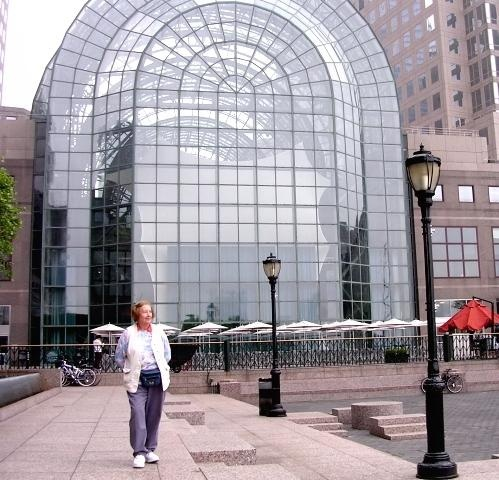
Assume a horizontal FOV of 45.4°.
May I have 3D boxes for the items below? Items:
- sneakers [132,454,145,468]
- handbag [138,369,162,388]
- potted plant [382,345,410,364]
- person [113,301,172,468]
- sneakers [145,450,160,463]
[{"bbox_3d":[-1.279,2.574,6.902,0.104,0.105,0.283,0,-16,-10],"label":"sneakers"},{"bbox_3d":[-1.241,1.710,7.439,0.324,0.244,0.212,1,-14,-11],"label":"handbag"},{"bbox_3d":[7.394,5.848,29.956,1.069,0.718,0.441,-1,12,-9],"label":"potted plant"},{"bbox_3d":[-1.278,1.734,7.306,0.683,1.923,0.336,2,-11,-24],"label":"person"},{"bbox_3d":[-1.170,2.615,7.138,0.157,0.127,0.165,-1,-9,-9],"label":"sneakers"}]
